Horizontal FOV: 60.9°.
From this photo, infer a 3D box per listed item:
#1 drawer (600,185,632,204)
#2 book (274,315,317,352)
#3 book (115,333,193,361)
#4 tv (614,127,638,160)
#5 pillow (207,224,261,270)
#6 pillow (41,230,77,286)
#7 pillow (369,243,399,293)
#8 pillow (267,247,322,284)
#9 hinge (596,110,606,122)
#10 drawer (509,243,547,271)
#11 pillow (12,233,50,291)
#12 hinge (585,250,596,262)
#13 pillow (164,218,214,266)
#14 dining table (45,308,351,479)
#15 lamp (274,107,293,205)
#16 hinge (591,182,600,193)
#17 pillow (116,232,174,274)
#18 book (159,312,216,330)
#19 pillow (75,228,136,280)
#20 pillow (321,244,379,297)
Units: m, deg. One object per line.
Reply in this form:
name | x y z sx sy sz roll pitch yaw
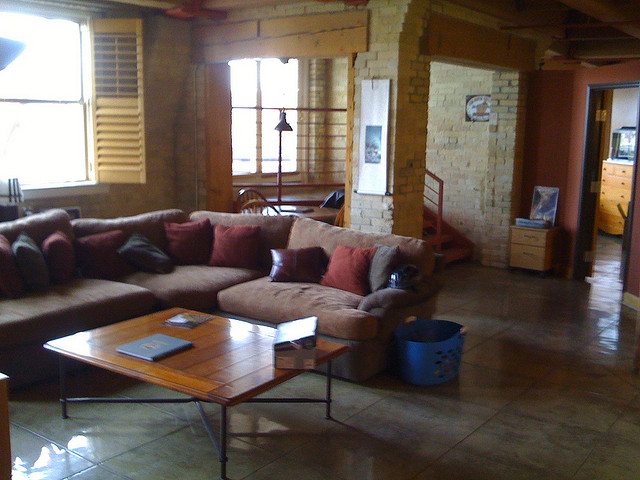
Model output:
drawer | 5.645 -0.869 10.340 0.446 0.213 0.692 -10 16 -33
book | -0.156 0.626 3.603 0.212 0.051 0.217 -1 12 37
book | -1.126 0.721 3.693 0.364 0.031 0.346 9 15 31
tv | 6.106 -1.938 10.910 0.296 0.629 0.590 7 15 20
pillow | -0.872 0.066 5.708 0.642 0.488 0.230 4 1 26
pillow | -2.368 0.169 4.907 0.248 0.361 0.407 -8 24 -9
pillow | 0.548 0.249 4.804 0.172 0.351 0.384 12 0 -4
pillow | -0.210 0.211 5.210 0.648 0.298 0.378 4 14 -2
hinge | 3.862 -1.699 7.457 0.178 0.132 0.037 0 1 -1
drawer | 2.957 0.237 7.732 0.412 0.304 0.407 6 8 42
pillow | -2.461 0.208 4.728 0.229 0.423 0.360 -1 15 -24
hinge | 3.818 0.227 7.688 0.188 0.143 0.042 -7 12 -29
pillow | -1.367 0.040 5.673 0.496 0.422 0.165 -11 -18 -10
dining table | -0.838 0.928 3.811 1.603 0.719 1.043 9 16 30
lamp | -0.557 -1.248 8.266 0.380 1.461 0.424 -6 16 -29
hinge | 3.811 -0.727 7.540 0.037 0.121 0.144 6 -2 -9
pillow | -1.709 0.159 5.373 0.466 0.132 0.418 37 18 -8
book | -1.015 0.615 4.196 0.271 0.028 0.313 7 14 24
pillow | -2.080 0.150 5.284 0.461 0.414 0.281 -10 18 -36
pillow | 0.291 0.258 4.995 0.498 0.401 0.264 13 19 39
